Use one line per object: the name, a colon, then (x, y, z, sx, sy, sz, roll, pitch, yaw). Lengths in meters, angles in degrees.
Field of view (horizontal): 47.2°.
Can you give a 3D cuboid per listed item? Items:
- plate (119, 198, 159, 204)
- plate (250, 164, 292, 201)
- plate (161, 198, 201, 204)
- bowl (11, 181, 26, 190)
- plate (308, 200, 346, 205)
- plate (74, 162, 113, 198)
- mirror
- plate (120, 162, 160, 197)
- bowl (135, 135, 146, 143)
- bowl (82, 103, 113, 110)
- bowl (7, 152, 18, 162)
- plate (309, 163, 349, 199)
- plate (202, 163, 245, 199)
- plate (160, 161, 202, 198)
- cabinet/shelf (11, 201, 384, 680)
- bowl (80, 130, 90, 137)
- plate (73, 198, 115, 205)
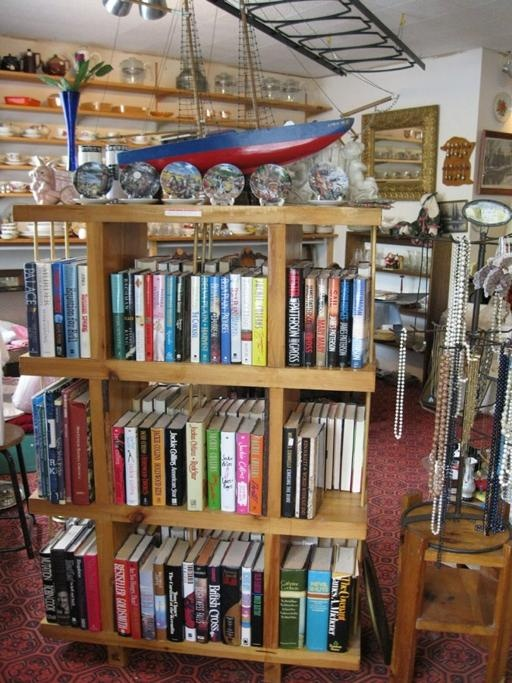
plate: (-0.332, -0.386, 1.609, 0.113, 0.014, 0.066, 0, 12, 1)
plate: (0.041, -0.419, 1.563, 0.103, 0.107, 0.062, 4, 14, 18)
plate: (-0.205, -0.375, 1.572, 0.113, 0.018, 0.098, 0, 12, 3)
bowl: (-1.687, -1.097, 4.162, 0.115, 0.066, 0.063, -6, 14, -21)
plate: (0.181, -0.355, 1.500, 0.085, 0.015, 0.055, 3, 13, 15)
plate: (-0.445, -0.446, 1.631, 0.119, 0.102, 0.083, -8, 15, -30)
mirror: (1.249, -1.642, 5.181, 0.134, 0.786, 0.883, -8, 15, -26)
plate: (-0.317, -0.439, 1.597, 0.106, 0.092, 0.037, -3, 14, -9)
bowl: (-0.834, -1.455, 4.217, 0.096, 0.054, 0.092, 0, 20, 0)
bowl: (-1.187, -1.740, 4.358, 0.117, 0.037, 0.112, 1, 14, 0)
bowl: (-1.707, -1.284, 4.097, 0.077, 0.056, 0.077, 0, 11, 0)
plate: (0.184, -0.403, 1.486, 0.092, 0.095, 0.054, 0, 13, 4)
plate: (-0.085, -0.426, 1.565, 0.103, 0.092, 0.055, 2, 35, 0)
plate: (-0.202, -0.437, 1.590, 0.112, 0.095, 0.063, -3, 13, -12)
cabinet/shelf: (-0.170, 0.299, 1.768, 1.032, 1.394, 0.370, 2, 14, 11)
bowl: (-1.245, -1.511, 4.292, 0.073, 0.071, 0.134, -4, 13, -15)
plate: (-0.444, -0.383, 1.606, 0.118, 0.019, 0.096, -2, 12, -6)
